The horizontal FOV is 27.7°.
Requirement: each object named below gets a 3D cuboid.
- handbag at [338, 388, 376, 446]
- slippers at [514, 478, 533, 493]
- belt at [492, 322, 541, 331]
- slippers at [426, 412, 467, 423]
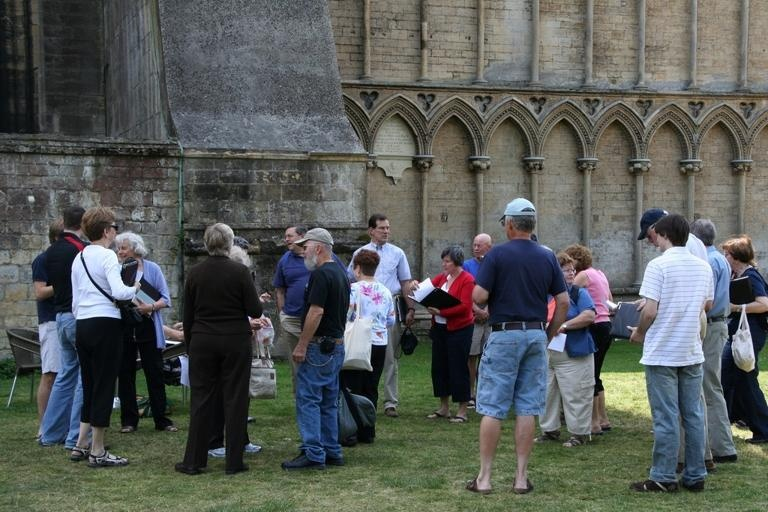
[{"bbox_3d":[-0.430,2.351,23.436,0.611,0.846,0.523,1,0,7],"label":"handbag"},{"bbox_3d":[1.992,3.224,22.085,0.341,0.192,0.175,0,-1,-26],"label":"slippers"},{"bbox_3d":[1.888,0.963,22.010,0.706,0.150,0.089,0,0,2],"label":"belt"},{"bbox_3d":[1.011,2.507,24.493,0.539,0.092,0.215,0,0,27],"label":"slippers"}]
